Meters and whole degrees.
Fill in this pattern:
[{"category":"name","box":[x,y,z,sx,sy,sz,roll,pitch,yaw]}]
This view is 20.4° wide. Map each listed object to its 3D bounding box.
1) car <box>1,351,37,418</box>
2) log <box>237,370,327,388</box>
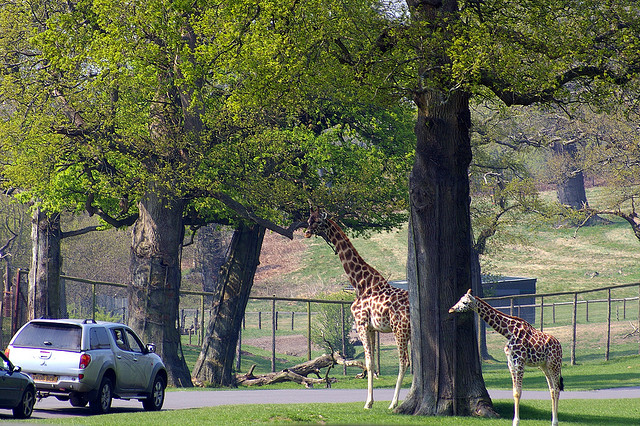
[{"category":"car","box":[-13.509,7.641,79.272,1.524,2.831,0.606,0,-11,-16]},{"category":"log","box":[-2.049,8.476,90.729,5.703,0.706,3.135,-2,-6,-2]}]
